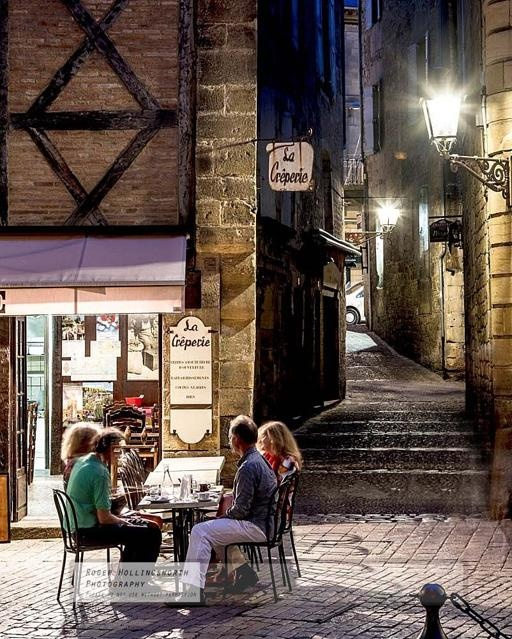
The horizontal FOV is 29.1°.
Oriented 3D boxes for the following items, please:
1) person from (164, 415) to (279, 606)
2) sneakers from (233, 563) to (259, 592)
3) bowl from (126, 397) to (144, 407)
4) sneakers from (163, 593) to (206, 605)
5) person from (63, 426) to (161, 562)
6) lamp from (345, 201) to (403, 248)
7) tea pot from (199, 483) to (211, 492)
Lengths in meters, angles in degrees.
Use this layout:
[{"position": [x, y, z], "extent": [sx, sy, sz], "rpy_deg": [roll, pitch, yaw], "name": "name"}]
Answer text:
[{"position": [-0.227, 1.385, 7.221], "extent": [0.818, 1.296, 0.343], "rpy_deg": [-3, 2, -33], "name": "person"}, {"position": [-0.092, 1.936, 7.383], "extent": [0.257, 0.199, 0.098], "rpy_deg": [-10, -2, -4], "name": "sneakers"}, {"position": [-1.469, 0.983, 11.762], "extent": [0.129, 0.098, 0.128], "rpy_deg": [-1, -6, 0], "name": "bowl"}, {"position": [-0.507, 2.007, 7.046], "extent": [0.302, 0.131, 0.098], "rpy_deg": [2, -14, 6], "name": "sneakers"}, {"position": [-1.103, 1.457, 7.545], "extent": [0.652, 1.206, 0.487], "rpy_deg": [-5, 1, -18], "name": "person"}, {"position": [2.934, -2.272, 25.093], "extent": [1.497, 0.628, 0.370], "rpy_deg": [-15, 2, -21], "name": "lamp"}, {"position": [-0.429, 1.341, 7.850], "extent": [0.050, 0.063, 0.089], "rpy_deg": [1, 4, 6], "name": "tea pot"}]
